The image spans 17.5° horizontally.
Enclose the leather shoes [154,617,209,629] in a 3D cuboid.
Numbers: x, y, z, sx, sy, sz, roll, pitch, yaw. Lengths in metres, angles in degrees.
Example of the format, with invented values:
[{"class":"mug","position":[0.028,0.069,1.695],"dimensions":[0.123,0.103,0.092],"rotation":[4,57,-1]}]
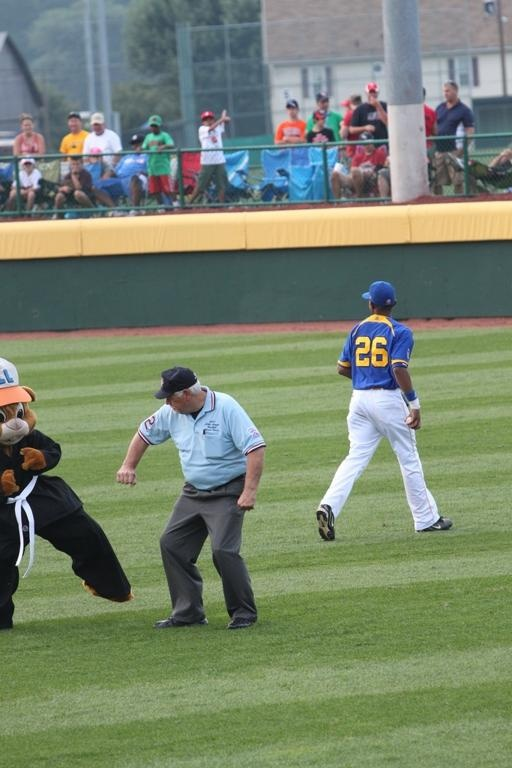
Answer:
[{"class":"leather shoes","position":[-0.369,1.138,8.097],"dimensions":[0.248,0.100,0.087],"rotation":[0,-1,-3]}]

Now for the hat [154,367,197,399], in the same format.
[{"class":"hat","position":[-0.382,-0.002,7.927],"dimensions":[0.197,0.158,0.232],"rotation":[-6,5,-3]}]

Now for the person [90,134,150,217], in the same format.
[{"class":"person","position":[-1.607,-2.496,19.658],"dimensions":[0.741,0.943,0.811],"rotation":[-2,5,-4]}]

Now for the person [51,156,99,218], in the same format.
[{"class":"person","position":[-2.011,-2.356,19.903],"dimensions":[0.643,0.888,0.532],"rotation":[0,13,4]}]

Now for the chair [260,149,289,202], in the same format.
[{"class":"chair","position":[0.206,-2.429,19.033],"dimensions":[0.475,0.763,0.449],"rotation":[0,6,-2]}]

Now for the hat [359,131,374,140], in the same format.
[{"class":"hat","position":[1.275,-2.897,19.337],"dimensions":[0.135,0.132,0.104],"rotation":[-9,34,-4]}]

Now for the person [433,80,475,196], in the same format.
[{"class":"person","position":[2.215,-2.810,18.976],"dimensions":[0.503,1.269,1.384],"rotation":[-5,6,7]}]

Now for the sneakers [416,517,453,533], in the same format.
[{"class":"sneakers","position":[1.037,0.819,9.701],"dimensions":[0.214,0.094,0.077],"rotation":[-2,-4,-7]}]

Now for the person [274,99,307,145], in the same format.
[{"class":"person","position":[0.403,-3.219,20.372],"dimensions":[0.366,0.565,1.045],"rotation":[-6,5,-2]}]

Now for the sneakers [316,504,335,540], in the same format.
[{"class":"sneakers","position":[0.397,0.792,9.598],"dimensions":[0.081,0.228,0.112],"rotation":[-6,26,24]}]

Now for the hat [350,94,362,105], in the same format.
[{"class":"hat","position":[1.211,-3.435,20.033],"dimensions":[0.114,0.154,0.150],"rotation":[-2,5,-8]}]

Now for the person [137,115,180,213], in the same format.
[{"class":"person","position":[-1.152,-2.653,19.691],"dimensions":[0.358,1.124,1.038],"rotation":[-6,6,-3]}]

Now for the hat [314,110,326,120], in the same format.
[{"class":"hat","position":[0.740,-3.173,19.546],"dimensions":[0.139,0.102,0.229],"rotation":[7,-2,8]}]

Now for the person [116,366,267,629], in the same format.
[{"class":"person","position":[-0.286,0.569,8.015],"dimensions":[0.706,1.198,0.277],"rotation":[-2,7,28]}]

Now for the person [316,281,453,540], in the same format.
[{"class":"person","position":[0.693,0.146,9.685],"dimensions":[0.766,1.458,0.531],"rotation":[-5,6,6]}]

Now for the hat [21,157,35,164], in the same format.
[{"class":"hat","position":[-2.693,-2.628,19.546],"dimensions":[0.163,0.075,0.185],"rotation":[-6,5,-5]}]

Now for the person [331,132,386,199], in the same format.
[{"class":"person","position":[1.194,-2.506,19.176],"dimensions":[0.595,0.907,0.593],"rotation":[7,-3,-7]}]

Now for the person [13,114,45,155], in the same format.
[{"class":"person","position":[-2.995,-3.254,21.667],"dimensions":[0.397,0.559,0.968],"rotation":[-6,5,-7]}]

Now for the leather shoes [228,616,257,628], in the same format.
[{"class":"leather shoes","position":[-0.065,1.128,7.921],"dimensions":[0.131,0.056,0.048],"rotation":[-3,41,-1]}]
